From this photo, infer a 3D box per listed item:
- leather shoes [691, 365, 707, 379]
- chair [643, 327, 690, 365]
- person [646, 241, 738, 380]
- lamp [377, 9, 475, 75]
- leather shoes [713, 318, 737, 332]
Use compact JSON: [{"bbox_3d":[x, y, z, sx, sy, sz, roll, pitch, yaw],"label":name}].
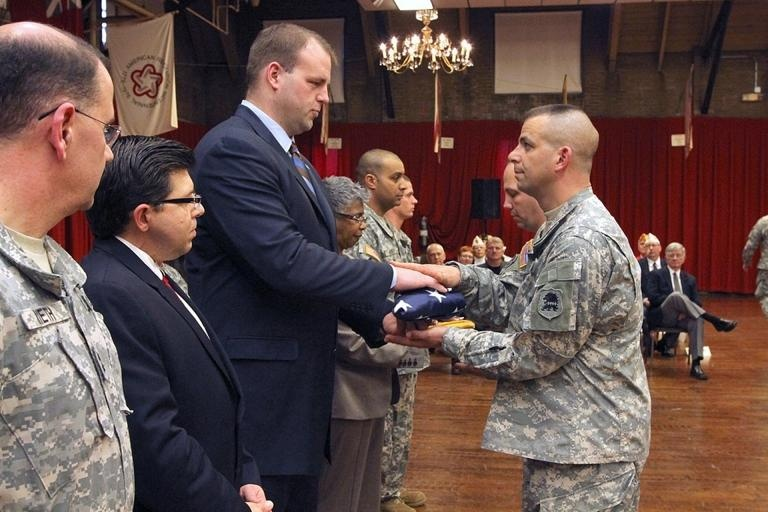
[{"bbox_3d":[2.943,1.075,7.009,0.131,0.101,0.242,2,6,14],"label":"leather shoes"},{"bbox_3d":[3.100,0.992,8.226,0.603,0.404,0.389,0,-10,0],"label":"chair"},{"bbox_3d":[3.631,0.625,8.806,0.797,1.160,1.601,9,53,4],"label":"person"},{"bbox_3d":[0.593,-3.197,11.239,1.351,0.788,1.400,0,8,-3],"label":"lamp"},{"bbox_3d":[3.546,0.715,7.822,0.193,0.174,0.393,3,7,26],"label":"leather shoes"}]
